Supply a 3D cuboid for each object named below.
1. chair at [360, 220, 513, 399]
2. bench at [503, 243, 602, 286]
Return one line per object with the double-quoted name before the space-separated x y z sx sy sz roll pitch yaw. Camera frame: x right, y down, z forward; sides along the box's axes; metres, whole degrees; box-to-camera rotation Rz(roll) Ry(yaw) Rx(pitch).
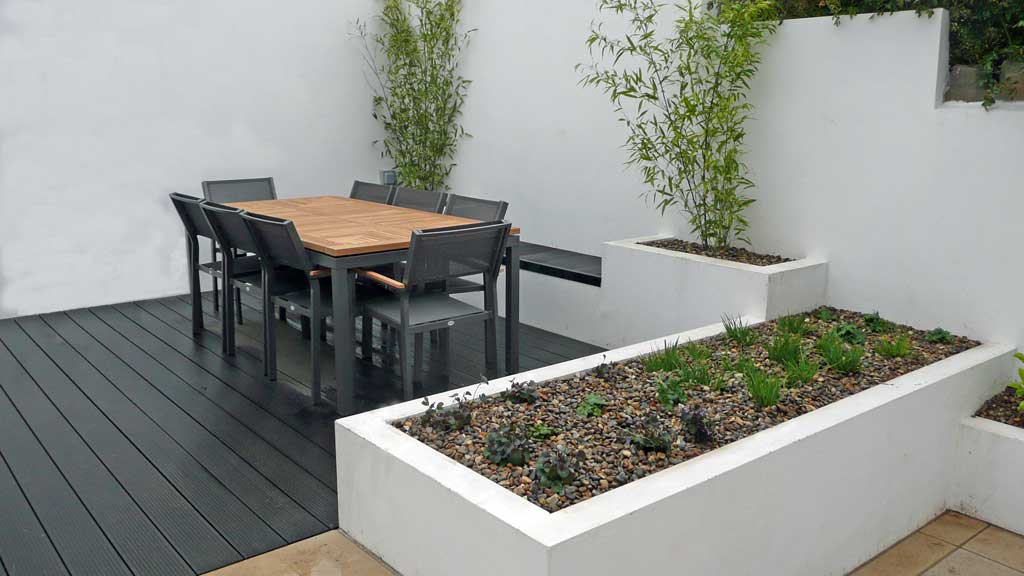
"chair" -0.602 0.089 4.898 0.937 1.232 0.967 -8 19 -29
"bench" 0.550 -0.218 6.192 0.082 0.383 1.070 -8 2 -21
